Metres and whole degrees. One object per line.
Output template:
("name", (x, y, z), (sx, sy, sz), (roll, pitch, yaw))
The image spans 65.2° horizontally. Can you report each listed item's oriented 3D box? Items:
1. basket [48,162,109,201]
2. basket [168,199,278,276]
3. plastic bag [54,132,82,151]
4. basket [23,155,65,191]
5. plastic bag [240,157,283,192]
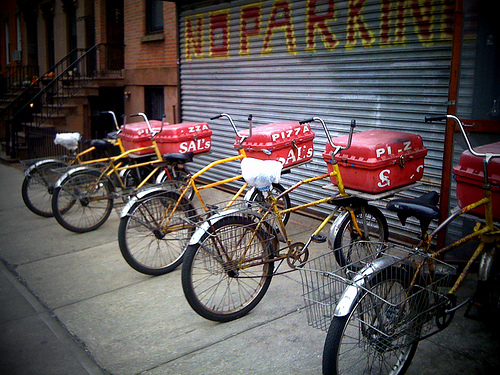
("basket", (-2.826, -0.126, 6.566), (1.149, 0.287, 0.629), (-4, 11, -22))
("basket", (-0.266, 0.473, 4.599), (1.123, 0.657, 1.486), (-12, 11, -2))
("plastic bag", (-3.388, -0.890, 7.197), (0.487, 0.197, 0.395), (19, 24, 40))
("basket", (-3.860, -0.178, 7.697), (0.921, 0.586, 1.155), (13, -11, -23))
("plastic bag", (0.099, -0.156, 4.172), (0.396, 0.335, 0.170), (-5, 10, -4))
